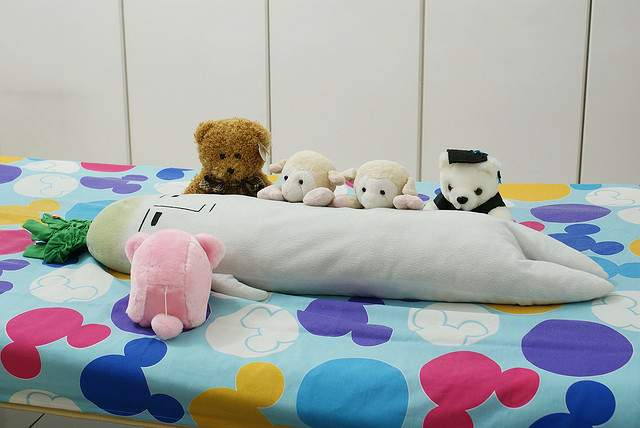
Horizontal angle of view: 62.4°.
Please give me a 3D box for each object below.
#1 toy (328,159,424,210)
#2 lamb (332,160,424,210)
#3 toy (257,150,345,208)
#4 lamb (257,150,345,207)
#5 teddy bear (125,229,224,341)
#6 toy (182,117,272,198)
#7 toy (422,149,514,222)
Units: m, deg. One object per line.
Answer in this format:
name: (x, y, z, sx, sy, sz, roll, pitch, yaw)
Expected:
toy: (0.211, -0.092, 1.960, 0.368, 0.194, 0.215, 5, 15, 21)
lamb: (0.216, -0.094, 1.901, 0.335, 0.181, 0.186, 3, 10, 19)
toy: (-0.059, -0.141, 2.010, 0.337, 0.190, 0.244, 11, 21, 32)
lamb: (-0.061, -0.139, 2.011, 0.337, 0.195, 0.248, 6, 18, 20)
teddy bear: (-0.436, 0.195, 1.690, 0.293, 0.250, 0.326, 7, 35, -6)
toy: (-0.372, -0.205, 2.225, 0.401, 0.364, 0.219, 1, 23, -2)
toy: (0.563, -0.094, 2.040, 0.370, 0.294, 0.227, 7, 19, 32)
